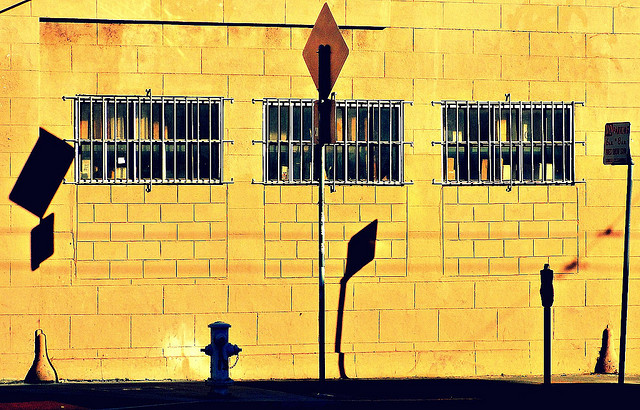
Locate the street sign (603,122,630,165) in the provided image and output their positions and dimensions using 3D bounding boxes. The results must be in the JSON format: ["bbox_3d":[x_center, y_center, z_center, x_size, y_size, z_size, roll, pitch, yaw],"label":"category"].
[{"bbox_3d":[5.643,-1.181,34.623,0.220,0.828,0.714,13,-18,-31],"label":"street sign"}]

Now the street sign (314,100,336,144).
[{"bbox_3d":[0.202,-1.576,34.111,0.195,0.802,0.499,-6,4,-24],"label":"street sign"}]

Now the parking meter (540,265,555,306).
[{"bbox_3d":[4.419,1.551,35.339,0.258,0.800,0.382,2,-16,5],"label":"parking meter"}]

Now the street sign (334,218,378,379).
[{"bbox_3d":[0.658,1.721,35.557,0.473,2.867,0.862,14,-19,-32],"label":"street sign"}]
